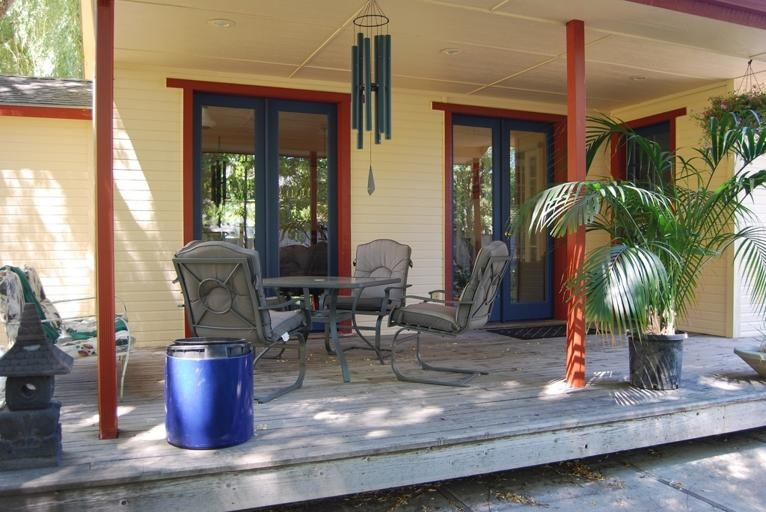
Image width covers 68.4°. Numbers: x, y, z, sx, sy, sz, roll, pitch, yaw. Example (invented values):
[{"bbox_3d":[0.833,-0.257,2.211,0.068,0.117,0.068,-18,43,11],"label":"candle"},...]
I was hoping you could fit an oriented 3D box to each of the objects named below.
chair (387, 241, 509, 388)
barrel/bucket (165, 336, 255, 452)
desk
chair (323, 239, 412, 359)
[{"bbox_3d":[0.722,0.611,5.937,1.292,1.225,1.029,-6,-9,33],"label":"chair"},{"bbox_3d":[-1.186,1.079,4.583,0.841,0.800,0.777,0,-6,0],"label":"barrel/bucket"},{"bbox_3d":[-0.422,0.862,6.631,1.782,0.984,1.524,-2,-1,-28],"label":"desk"},{"bbox_3d":[-0.138,0.515,6.983,1.166,1.338,1.098,-7,8,-35],"label":"chair"}]
